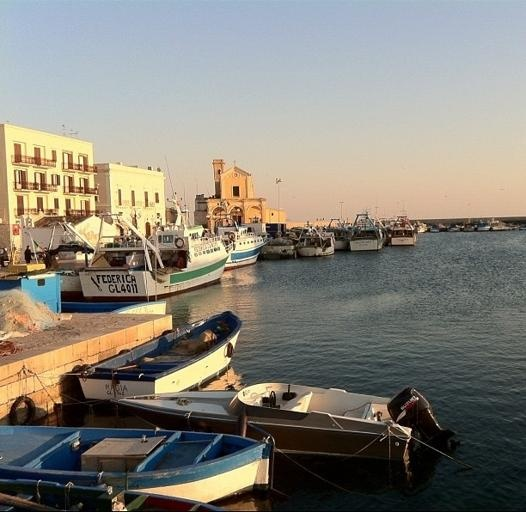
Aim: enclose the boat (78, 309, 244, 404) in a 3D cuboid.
[{"bbox_3d":[-2.623,3.060,17.380,2.390,1.081,7.229,2,4,16],"label":"boat"}]
